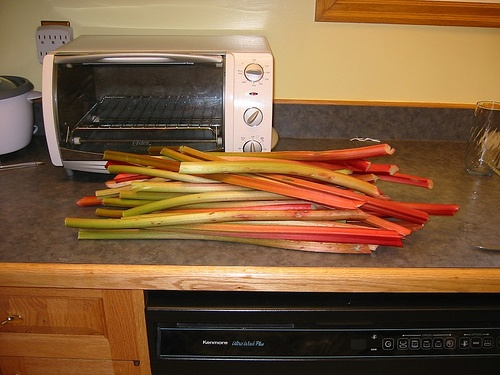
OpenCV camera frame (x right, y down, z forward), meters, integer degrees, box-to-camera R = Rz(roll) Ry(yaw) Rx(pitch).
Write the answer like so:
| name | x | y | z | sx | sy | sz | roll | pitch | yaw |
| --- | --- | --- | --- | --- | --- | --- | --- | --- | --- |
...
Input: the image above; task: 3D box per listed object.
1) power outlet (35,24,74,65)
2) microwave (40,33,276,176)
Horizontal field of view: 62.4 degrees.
| name | x | y | z | sx | sy | sz | roll | pitch | yaw |
| --- | --- | --- | --- | --- | --- | --- | --- | --- | --- |
| power outlet | -0.794 | -0.597 | 1.707 | 0.183 | 0.162 | 0.112 | 0 | 27 | -9 |
| microwave | -0.310 | -0.345 | 1.640 | 0.794 | 0.463 | 0.662 | 0 | 21 | -1 |
